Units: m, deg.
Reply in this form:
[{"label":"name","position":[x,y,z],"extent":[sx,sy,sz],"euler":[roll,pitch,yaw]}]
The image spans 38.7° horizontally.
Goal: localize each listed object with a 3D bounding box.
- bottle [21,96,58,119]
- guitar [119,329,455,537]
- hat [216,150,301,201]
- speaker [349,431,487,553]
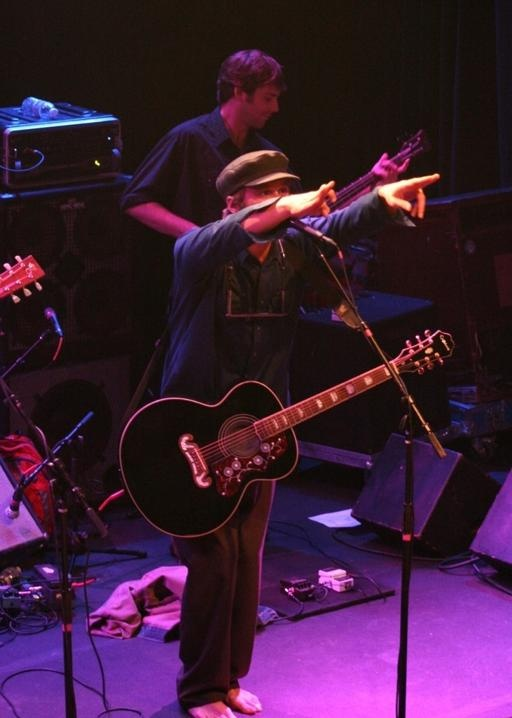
[{"label":"bottle","position":[-1.195,-1.391,4.037],"extent":[0.252,0.113,0.089],"euler":[11,42,35]},{"label":"guitar","position":[0.068,0.195,2.196],"extent":[1.198,0.414,0.135],"euler":[-24,-2,2]},{"label":"hat","position":[-0.001,-0.521,2.139],"extent":[0.201,0.070,0.142],"euler":[-11,2,39]},{"label":"speaker","position":[0.891,0.634,4.089],"extent":[0.749,0.642,0.768],"euler":[0,1,-26]}]
